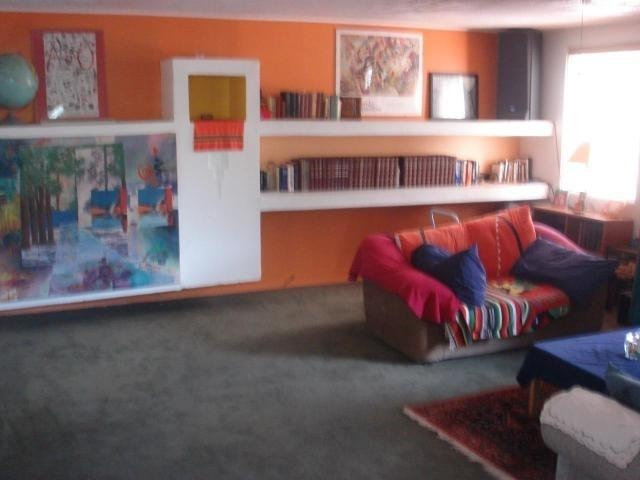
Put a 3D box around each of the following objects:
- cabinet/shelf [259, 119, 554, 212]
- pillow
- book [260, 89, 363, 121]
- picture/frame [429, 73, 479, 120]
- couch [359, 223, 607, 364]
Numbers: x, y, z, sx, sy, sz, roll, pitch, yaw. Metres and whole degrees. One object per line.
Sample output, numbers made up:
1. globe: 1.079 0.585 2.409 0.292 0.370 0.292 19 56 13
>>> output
1. cabinet/shelf: 1.112 -0.919 6.450 3.855 1.107 0.626 -4 15 -17
2. pillow: 2.004 0.139 5.127 1.156 0.595 1.157 -11 22 -27
3. book: -0.099 -1.532 5.990 1.116 0.276 0.259 1 15 1
4. picture/frame: 1.677 -1.825 6.661 0.640 0.585 0.063 -1 2 -18
5. couch: 1.429 0.523 4.919 1.993 0.920 0.845 -2 15 -10
